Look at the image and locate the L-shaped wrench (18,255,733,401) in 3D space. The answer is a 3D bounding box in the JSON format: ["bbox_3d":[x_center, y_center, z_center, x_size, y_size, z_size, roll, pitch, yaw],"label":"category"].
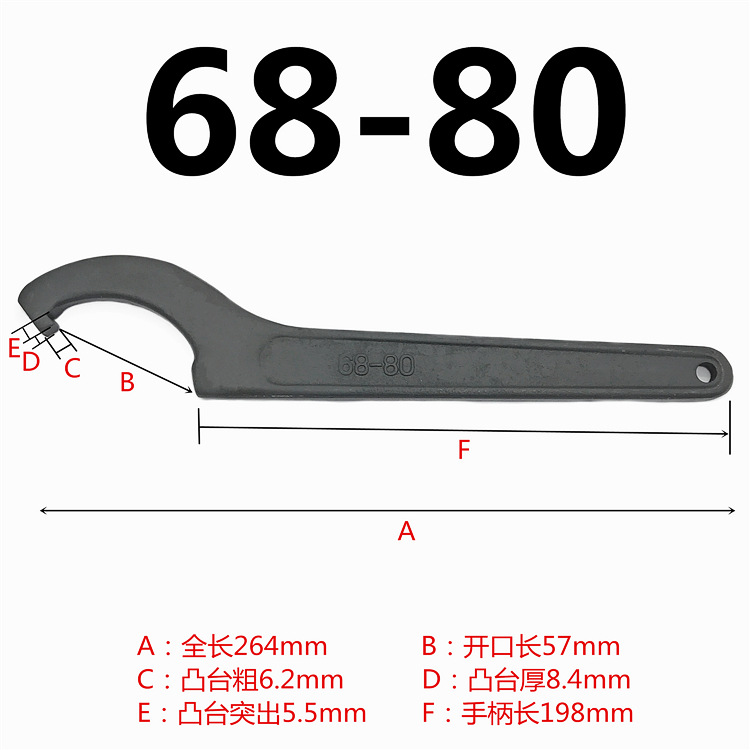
[{"bbox_3d":[0.002,-0.035,2.603,1.625,0.375,0.080,10,-32,-1],"label":"L-shaped wrench"}]
